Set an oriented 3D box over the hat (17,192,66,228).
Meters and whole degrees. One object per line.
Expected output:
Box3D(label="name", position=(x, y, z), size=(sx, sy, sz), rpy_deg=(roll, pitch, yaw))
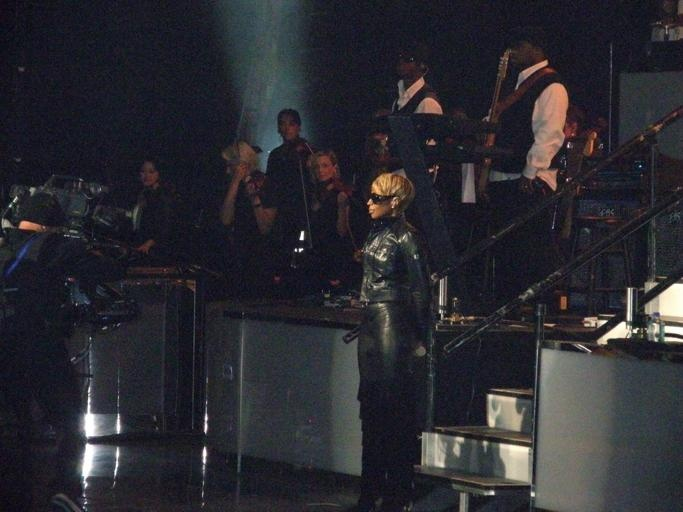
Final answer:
Box3D(label="hat", position=(-1.950, -0.284, 5.356), size=(0.198, 0.218, 0.282), rpy_deg=(0, -21, 34))
